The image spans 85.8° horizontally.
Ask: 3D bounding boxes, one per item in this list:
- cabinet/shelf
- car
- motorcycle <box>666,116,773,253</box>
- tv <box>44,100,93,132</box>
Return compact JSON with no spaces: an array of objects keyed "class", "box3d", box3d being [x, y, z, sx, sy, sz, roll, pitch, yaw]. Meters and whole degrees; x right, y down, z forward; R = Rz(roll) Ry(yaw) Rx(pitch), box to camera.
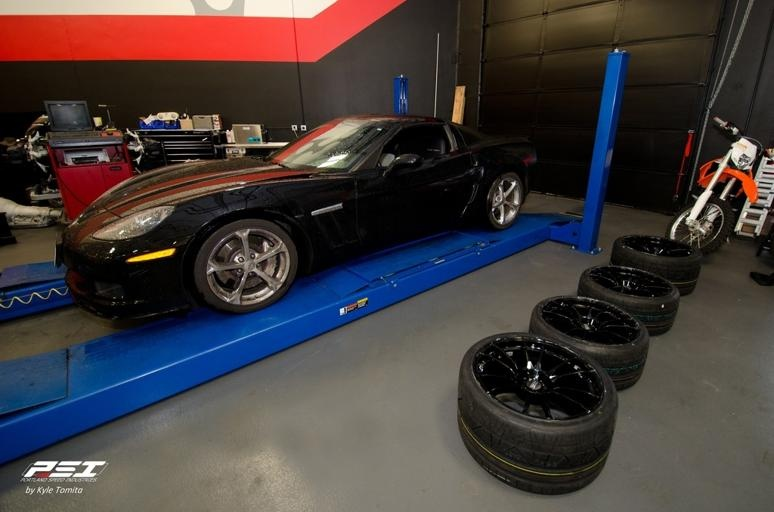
[{"class":"cabinet/shelf","box3d":[-4.292,-1.069,6.141,0.948,1.232,0.692,-15,-11,-39]},{"class":"car","box3d":[-0.566,-0.233,4.158,3.937,1.067,1.848,-12,29,-23]},{"class":"motorcycle","box3d":[4.004,-0.835,4.874,0.727,1.279,1.316,24,41,36]},{"class":"tv","box3d":[-4.653,-2.033,6.053,0.521,0.442,0.284,-13,32,-40]}]
